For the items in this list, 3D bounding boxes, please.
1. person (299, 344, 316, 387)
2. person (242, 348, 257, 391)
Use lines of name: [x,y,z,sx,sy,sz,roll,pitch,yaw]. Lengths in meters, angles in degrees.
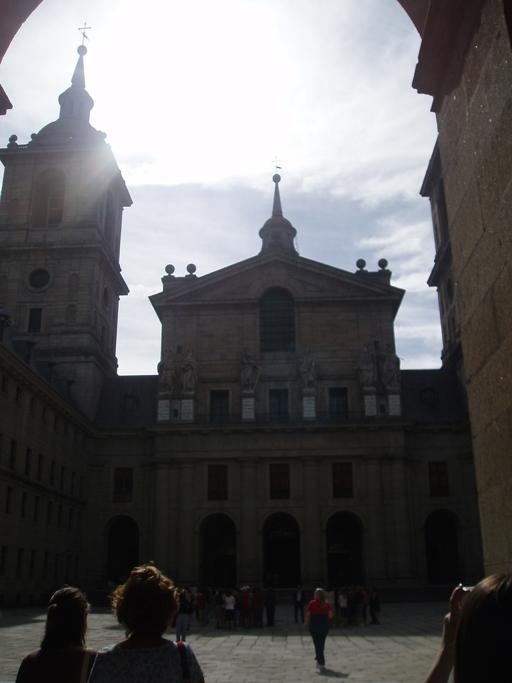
person: [4.147,2.152,47.180,1.266,3.488,0.403,-1,-20,-3]
person: [-0.608,2.435,47.227,1.276,3.435,0.424,-1,-20,-1]
